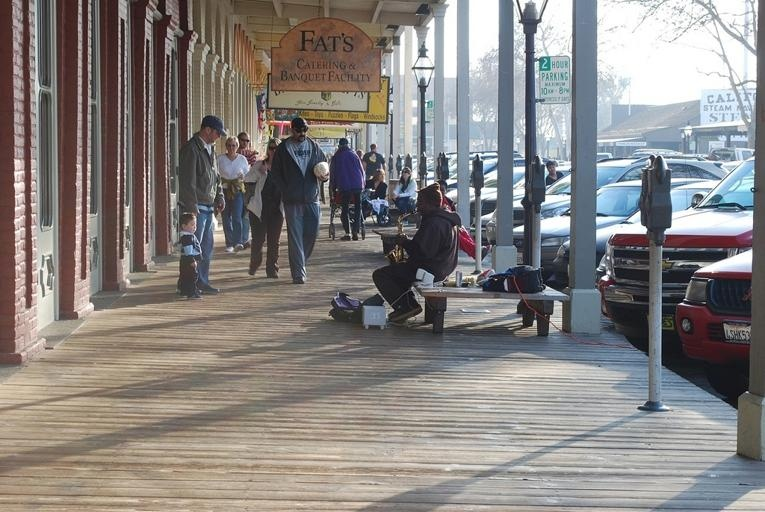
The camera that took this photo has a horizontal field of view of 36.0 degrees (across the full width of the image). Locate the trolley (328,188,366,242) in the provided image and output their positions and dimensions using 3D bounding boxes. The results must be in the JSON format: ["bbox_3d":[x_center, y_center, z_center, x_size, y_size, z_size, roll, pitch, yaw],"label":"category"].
[{"bbox_3d":[-0.912,-1.023,24.911,0.736,1.160,0.906,-13,6,1],"label":"trolley"}]

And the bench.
[{"bbox_3d":[1.308,0.619,14.216,1.734,0.607,1.034,2,12,2],"label":"bench"}]

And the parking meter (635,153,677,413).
[{"bbox_3d":[2.599,0.246,11.152,0.332,2.375,0.602,2,12,4],"label":"parking meter"}]
